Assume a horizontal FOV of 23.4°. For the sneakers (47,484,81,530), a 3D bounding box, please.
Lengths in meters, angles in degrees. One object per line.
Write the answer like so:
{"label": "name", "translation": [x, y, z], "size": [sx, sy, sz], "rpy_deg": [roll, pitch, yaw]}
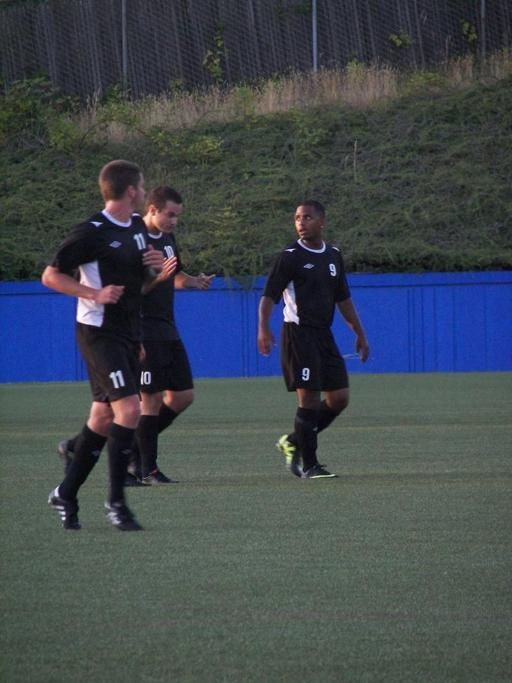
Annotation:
{"label": "sneakers", "translation": [-0.974, 0.855, 6.289], "size": [0.165, 0.205, 0.164], "rpy_deg": [0, 4, 5]}

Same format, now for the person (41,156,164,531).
{"label": "person", "translation": [-0.756, 0.000, 6.411], "size": [0.523, 1.888, 0.654], "rpy_deg": [2, 5, 30]}

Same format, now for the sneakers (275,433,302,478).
{"label": "sneakers", "translation": [0.208, 0.745, 7.989], "size": [0.103, 0.296, 0.128], "rpy_deg": [-31, 9, -35]}

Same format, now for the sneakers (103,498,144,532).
{"label": "sneakers", "translation": [-0.687, 0.899, 6.300], "size": [0.086, 0.096, 0.246], "rpy_deg": [-11, 13, -35]}

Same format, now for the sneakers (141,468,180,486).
{"label": "sneakers", "translation": [-0.601, 0.851, 7.588], "size": [0.238, 0.100, 0.082], "rpy_deg": [0, 2, 7]}

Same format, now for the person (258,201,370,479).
{"label": "person", "translation": [0.342, -0.022, 8.037], "size": [0.557, 1.763, 0.701], "rpy_deg": [2, 4, 26]}

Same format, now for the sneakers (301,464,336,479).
{"label": "sneakers", "translation": [0.387, 0.829, 7.764], "size": [0.239, 0.092, 0.080], "rpy_deg": [-4, -8, 18]}

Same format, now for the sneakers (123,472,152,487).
{"label": "sneakers", "translation": [-0.733, 0.851, 7.559], "size": [0.179, 0.121, 0.062], "rpy_deg": [-4, 7, -3]}
